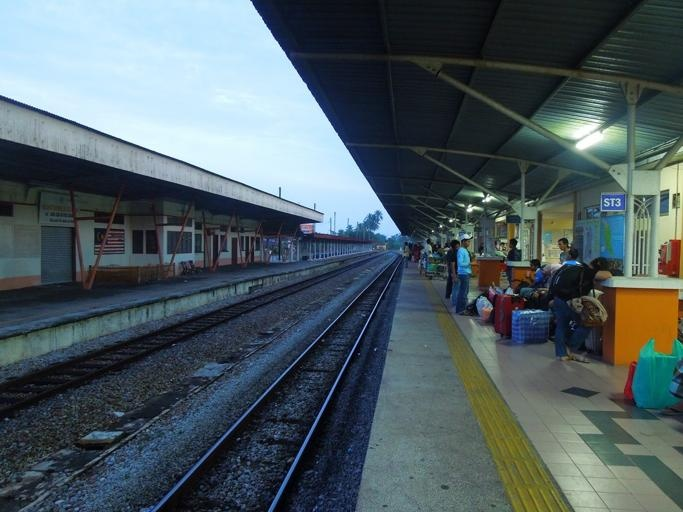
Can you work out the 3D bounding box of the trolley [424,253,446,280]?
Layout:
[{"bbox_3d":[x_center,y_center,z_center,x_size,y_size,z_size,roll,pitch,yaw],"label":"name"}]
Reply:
[{"bbox_3d":[4.308,0.467,24.297,1.068,1.072,0.673,4,-4,-42],"label":"trolley"}]

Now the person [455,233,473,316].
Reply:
[{"bbox_3d":[2.947,0.416,12.936,0.373,1.900,1.466,1,1,12],"label":"person"}]

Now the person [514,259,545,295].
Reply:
[{"bbox_3d":[3.920,0.458,10.938,0.523,0.759,0.403,-5,20,16],"label":"person"}]

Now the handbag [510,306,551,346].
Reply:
[{"bbox_3d":[3.474,1.268,9.774,0.580,0.591,0.320,-1,2,-3],"label":"handbag"}]

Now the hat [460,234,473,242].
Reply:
[{"bbox_3d":[3.084,-0.459,13.182,0.268,0.150,0.395,-1,-1,-2],"label":"hat"}]

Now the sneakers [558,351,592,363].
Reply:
[{"bbox_3d":[3.729,1.630,8.555,0.399,0.104,0.193,-2,3,13],"label":"sneakers"}]

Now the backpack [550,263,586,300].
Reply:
[{"bbox_3d":[3.565,0.383,8.486,0.567,0.621,0.444,3,2,6],"label":"backpack"}]

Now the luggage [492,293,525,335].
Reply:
[{"bbox_3d":[3.200,1.143,10.221,0.548,0.832,0.583,2,7,30],"label":"luggage"}]

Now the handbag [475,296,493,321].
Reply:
[{"bbox_3d":[3.216,1.168,11.908,0.294,0.510,0.877,1,1,6],"label":"handbag"}]
